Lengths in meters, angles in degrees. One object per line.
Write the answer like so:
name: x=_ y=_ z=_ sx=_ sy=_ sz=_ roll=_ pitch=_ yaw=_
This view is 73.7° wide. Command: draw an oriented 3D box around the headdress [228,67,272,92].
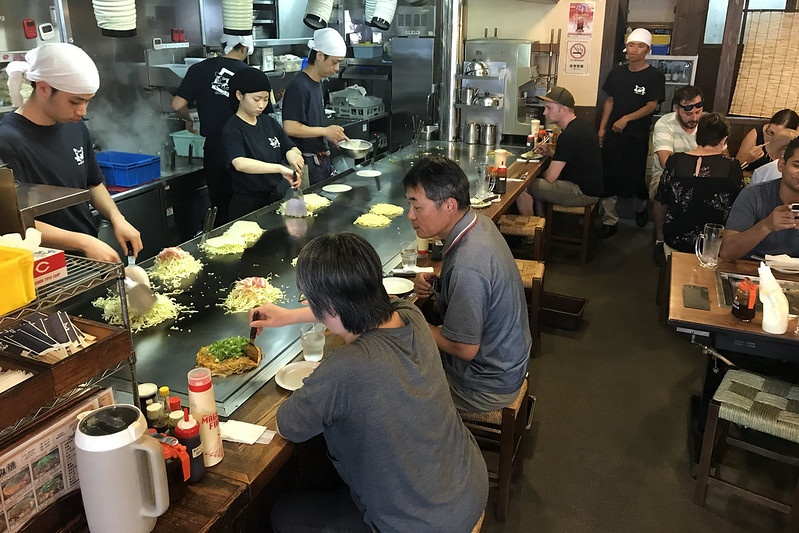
headdress: x=-1.150 y=-1.411 z=4.123 sx=0.243 sy=0.154 sz=0.247 roll=22 pitch=36 yaw=20

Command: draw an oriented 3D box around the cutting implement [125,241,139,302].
cutting implement: x=-1.377 y=0.026 z=2.748 sx=0.073 sy=0.054 sz=0.337 roll=-7 pitch=66 yaw=-29

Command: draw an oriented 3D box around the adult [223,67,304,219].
adult: x=-1.127 y=-0.974 z=4.328 sx=0.641 sy=1.210 sz=0.931 roll=-8 pitch=23 yaw=-17

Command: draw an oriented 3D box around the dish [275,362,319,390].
dish: x=-0.455 y=0.466 z=2.315 sx=0.147 sy=0.017 sz=0.150 roll=23 pitch=40 yaw=31

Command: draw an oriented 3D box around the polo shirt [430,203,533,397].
polo shirt: x=0.496 y=0.170 z=2.825 sx=0.425 sy=0.786 sz=0.730 roll=-6 pitch=11 yaw=16

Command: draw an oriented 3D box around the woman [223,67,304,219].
woman: x=-1.127 y=-0.974 z=4.328 sx=0.641 sy=1.210 sz=0.931 roll=-8 pitch=23 yaw=-17

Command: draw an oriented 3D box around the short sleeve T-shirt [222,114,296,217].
short sleeve T-shirt: x=-1.142 y=-0.848 z=4.378 sx=0.425 sy=0.842 sz=0.711 roll=19 pitch=32 yaw=28

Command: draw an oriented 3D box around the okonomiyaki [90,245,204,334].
okonomiyaki: x=-1.280 y=0.074 z=2.864 sx=0.364 sy=0.091 sz=0.516 roll=16 pitch=22 yaw=6

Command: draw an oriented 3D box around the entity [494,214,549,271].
entity: x=1.194 y=-0.244 z=5.336 sx=0.460 sy=0.476 sz=0.381 roll=4 pitch=23 yaw=17

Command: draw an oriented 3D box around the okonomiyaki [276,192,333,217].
okonomiyaki: x=-0.743 y=-0.507 z=4.173 sx=0.335 sy=0.115 sz=0.427 roll=4 pitch=23 yaw=12

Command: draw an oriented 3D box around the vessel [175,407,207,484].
vessel: x=-0.742 y=0.632 z=1.888 sx=0.077 sy=0.256 sz=0.074 roll=-11 pitch=14 yaw=-35

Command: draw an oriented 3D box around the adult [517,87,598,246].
adult: x=1.762 y=-1.123 z=5.942 sx=0.928 sy=1.699 sz=0.797 roll=4 pitch=30 yaw=17

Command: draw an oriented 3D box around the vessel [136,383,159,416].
vessel: x=-0.902 y=0.478 z=1.906 sx=0.073 sy=0.094 sz=0.076 roll=5 pitch=29 yaw=5

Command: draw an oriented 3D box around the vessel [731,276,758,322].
vessel: x=1.936 y=0.179 z=2.989 sx=0.134 sy=0.222 sz=0.131 roll=-5 pitch=15 yaw=-27

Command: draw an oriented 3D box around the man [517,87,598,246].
man: x=1.749 y=-1.196 z=5.685 sx=0.853 sy=1.354 sz=0.417 roll=6 pitch=23 yaw=17

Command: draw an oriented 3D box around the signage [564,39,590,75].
signage: x=2.271 y=-2.693 z=6.771 sx=0.376 sy=0.522 sz=0.052 roll=10 pitch=31 yaw=24

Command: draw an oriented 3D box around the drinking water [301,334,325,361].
drinking water: x=-0.384 y=0.356 z=2.413 sx=0.112 sy=0.128 sz=0.114 roll=0 pitch=2 yaw=-5

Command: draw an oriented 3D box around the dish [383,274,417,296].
dish: x=-0.004 y=0.104 z=3.020 sx=0.116 sy=0.017 sz=0.114 roll=-13 pitch=36 yaw=-25

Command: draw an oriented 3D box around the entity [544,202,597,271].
entity: x=1.927 y=-0.332 z=6.000 sx=0.441 sy=0.780 sz=0.467 roll=10 pitch=49 yaw=13

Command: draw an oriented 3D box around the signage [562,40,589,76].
signage: x=2.252 y=-2.683 z=6.781 sx=0.403 sy=0.556 sz=0.058 roll=7 pitch=29 yaw=19

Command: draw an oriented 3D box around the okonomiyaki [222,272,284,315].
okonomiyaki: x=-0.797 y=0.149 z=2.903 sx=0.217 sy=0.072 sz=0.220 roll=-4 pitch=27 yaw=3
